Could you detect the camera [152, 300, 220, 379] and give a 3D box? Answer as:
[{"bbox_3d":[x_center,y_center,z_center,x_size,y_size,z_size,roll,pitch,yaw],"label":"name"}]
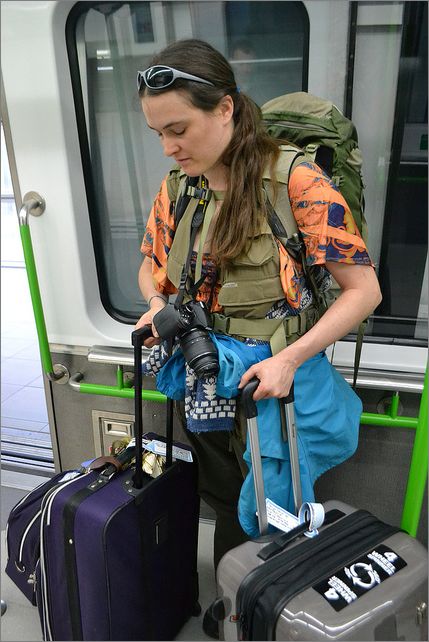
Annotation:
[{"bbox_3d":[-0.052,0.037,1.091,0.091,0.187,0.148,-32,5,14],"label":"camera"}]
